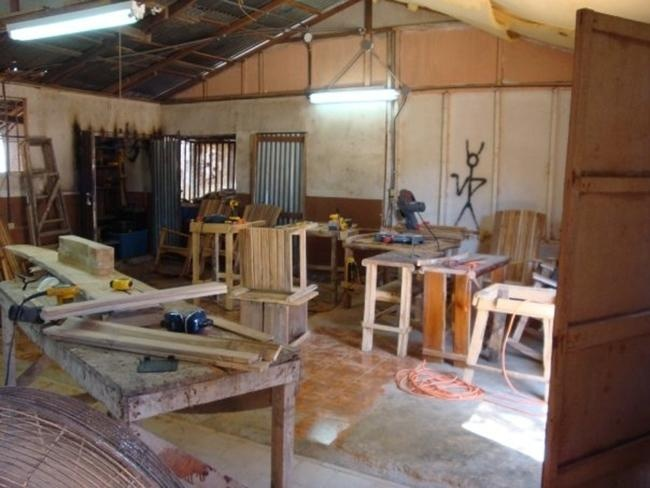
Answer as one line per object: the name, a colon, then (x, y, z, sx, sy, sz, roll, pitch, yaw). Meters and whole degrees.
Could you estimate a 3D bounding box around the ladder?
ladder: (-4.937, -0.914, 9.370, 0.415, 1.919, 0.990, 2, 14, 10)

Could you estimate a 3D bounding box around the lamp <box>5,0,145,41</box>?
lamp: (-3.035, -2.657, 6.285, 1.339, 0.119, 0.188, 1, 28, 28)
